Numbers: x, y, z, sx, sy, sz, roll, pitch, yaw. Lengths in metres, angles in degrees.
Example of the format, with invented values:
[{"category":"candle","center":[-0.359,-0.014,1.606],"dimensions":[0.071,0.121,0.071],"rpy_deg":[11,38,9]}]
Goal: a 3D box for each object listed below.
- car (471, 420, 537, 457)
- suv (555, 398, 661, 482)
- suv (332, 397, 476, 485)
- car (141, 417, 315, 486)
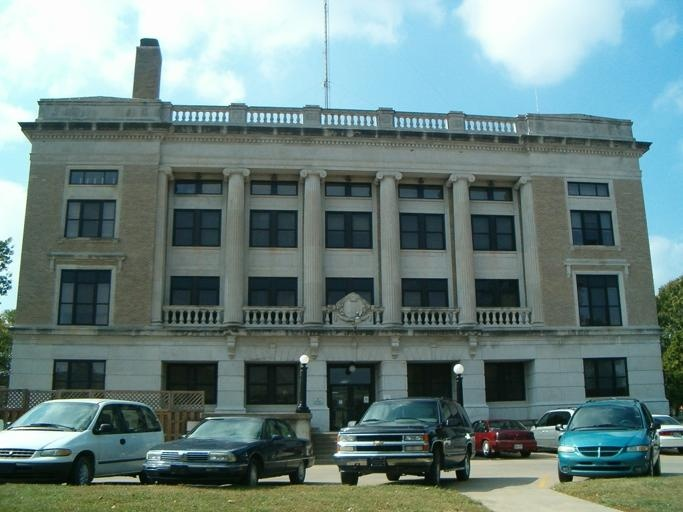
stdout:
[{"category":"car","center":[7.242,8.066,35.585],"dimensions":[1.978,1.620,2.132],"rpy_deg":[3,-15,-12]},{"category":"suv","center":[8.235,5.753,25.060],"dimensions":[3.123,2.479,1.790],"rpy_deg":[-2,-16,5]},{"category":"suv","center":[2.491,5.876,25.673],"dimensions":[2.584,1.494,4.083],"rpy_deg":[-9,-20,25]},{"category":"car","center":[-3.305,5.977,24.573],"dimensions":[2.391,2.050,4.648],"rpy_deg":[-12,-18,36]}]
